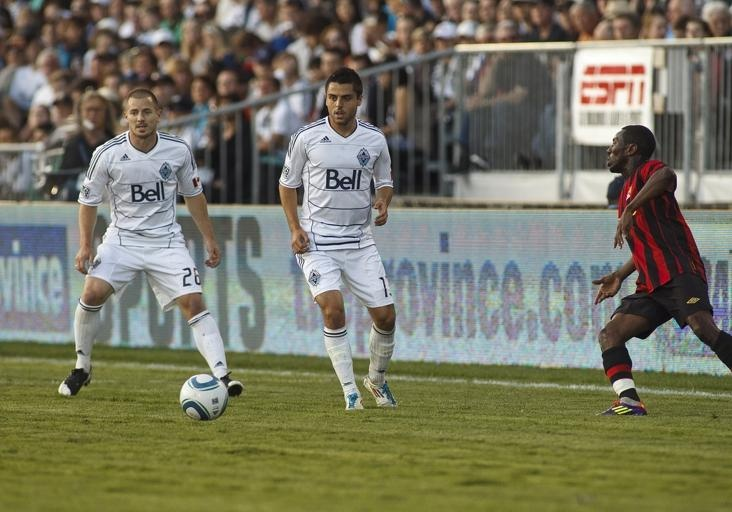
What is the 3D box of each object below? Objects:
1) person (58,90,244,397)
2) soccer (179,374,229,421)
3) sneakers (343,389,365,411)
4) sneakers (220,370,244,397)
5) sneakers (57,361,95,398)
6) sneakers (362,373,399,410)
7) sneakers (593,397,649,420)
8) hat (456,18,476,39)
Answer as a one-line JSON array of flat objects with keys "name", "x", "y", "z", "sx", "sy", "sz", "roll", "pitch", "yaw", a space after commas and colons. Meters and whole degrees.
[{"name": "person", "x": -1.931, "y": -0.079, "z": 12.066, "sx": 1.438, "sy": 2.649, "sz": 0.861, "roll": -1, "pitch": 13, "yaw": 0}, {"name": "soccer", "x": -1.324, "y": 1.148, "z": 11.492, "sx": 0.378, "sy": 0.357, "sz": 0.215, "roll": -3, "pitch": 13, "yaw": -9}, {"name": "sneakers", "x": -0.112, "y": 1.210, "z": 11.824, "sx": 0.122, "sy": 0.124, "sz": 0.287, "roll": -1, "pitch": -12, "yaw": 0}, {"name": "sneakers", "x": -1.127, "y": 1.086, "z": 11.861, "sx": 0.146, "sy": 0.249, "sz": 0.104, "roll": -29, "pitch": 24, "yaw": -1}, {"name": "sneakers", "x": -2.556, "y": 1.079, "z": 12.235, "sx": 0.398, "sy": 0.182, "sz": 0.144, "roll": -37, "pitch": 40, "yaw": -29}, {"name": "sneakers", "x": 0.123, "y": 1.172, "z": 11.965, "sx": 0.173, "sy": 0.393, "sz": 0.142, "roll": -44, "pitch": -6, "yaw": 30}, {"name": "sneakers", "x": 2.099, "y": 1.245, "z": 11.507, "sx": 0.401, "sy": 0.166, "sz": 0.149, "roll": 0, "pitch": -7, "yaw": 7}, {"name": "hat", "x": 1.069, "y": -2.404, "z": 14.921, "sx": 0.170, "sy": 0.220, "sz": 0.165, "roll": -15, "pitch": 41, "yaw": -26}]
